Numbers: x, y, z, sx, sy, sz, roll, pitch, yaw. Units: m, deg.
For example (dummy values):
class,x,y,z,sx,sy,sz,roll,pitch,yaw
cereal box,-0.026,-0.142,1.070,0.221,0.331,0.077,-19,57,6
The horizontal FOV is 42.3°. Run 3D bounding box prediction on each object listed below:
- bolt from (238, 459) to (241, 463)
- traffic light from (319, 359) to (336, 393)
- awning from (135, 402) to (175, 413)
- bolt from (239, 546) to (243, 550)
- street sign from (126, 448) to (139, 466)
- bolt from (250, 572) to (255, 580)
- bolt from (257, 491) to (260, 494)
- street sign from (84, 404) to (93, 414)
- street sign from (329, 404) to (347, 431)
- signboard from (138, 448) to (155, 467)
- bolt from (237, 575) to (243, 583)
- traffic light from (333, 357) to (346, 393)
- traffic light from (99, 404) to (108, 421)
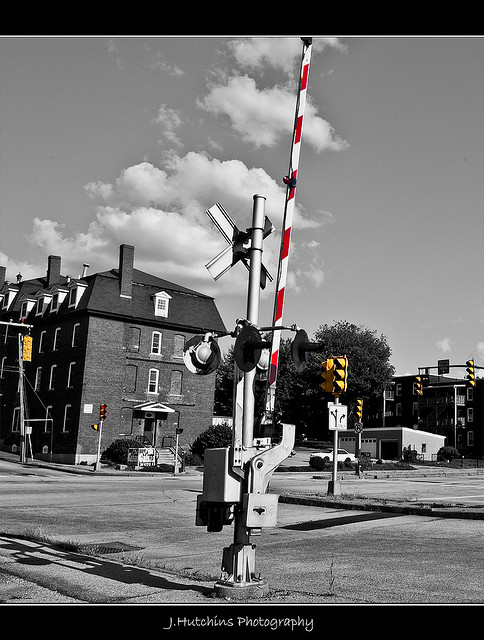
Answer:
class,x,y,z,sx,sy,sz,roll,pitch,yaw
bolt,-0.020,1.130,5.020,0.004,0.026,0.020,-7,-10,32
traffic light,2.128,1.377,15.560,0.268,0.849,0.641,4,-10,-1
awning,-6.051,6.035,43.512,2.542,0.555,0.529,9,-11,-18
bolt,-0.010,1.814,4.994,0.017,0.022,0.020,-25,-10,38
street sign,-6.331,8.019,36.600,0.863,0.986,0.387,-6,-13,44
bolt,0.082,2.047,5.016,0.019,0.066,0.050,-7,-10,23
bolt,0.129,1.376,5.001,0.008,0.018,0.009,-11,9,-33
street sign,-10.188,5.875,41.526,0.530,0.691,0.081,7,-25,-22
street sign,2.393,2.454,15.807,0.606,0.792,0.079,9,-13,-42
signboard,-5.616,8.098,36.803,1.099,1.038,0.565,10,-12,-30
bolt,-0.017,2.040,4.949,0.034,0.069,0.043,-2,-2,-12
traffic light,2.394,1.341,15.291,0.310,0.867,0.304,12,-13,-42
traffic light,-7.313,4.852,33.069,0.269,0.819,1.693,6,-11,-14
